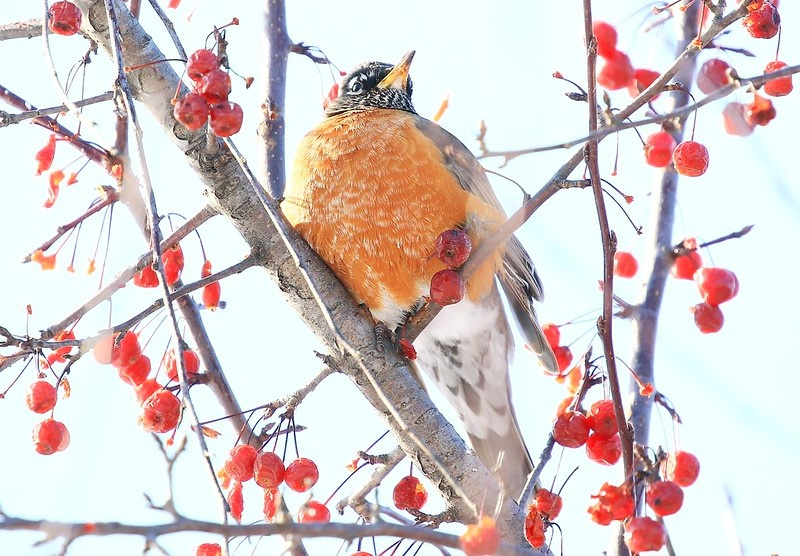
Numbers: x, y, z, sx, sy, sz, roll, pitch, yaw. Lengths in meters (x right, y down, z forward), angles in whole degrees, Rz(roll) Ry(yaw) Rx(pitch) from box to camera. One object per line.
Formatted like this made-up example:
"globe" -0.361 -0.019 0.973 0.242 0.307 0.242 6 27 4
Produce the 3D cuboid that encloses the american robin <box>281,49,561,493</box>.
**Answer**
"american robin" 0.036 0.020 3.679 0.457 0.627 1.562 -23 -87 33
